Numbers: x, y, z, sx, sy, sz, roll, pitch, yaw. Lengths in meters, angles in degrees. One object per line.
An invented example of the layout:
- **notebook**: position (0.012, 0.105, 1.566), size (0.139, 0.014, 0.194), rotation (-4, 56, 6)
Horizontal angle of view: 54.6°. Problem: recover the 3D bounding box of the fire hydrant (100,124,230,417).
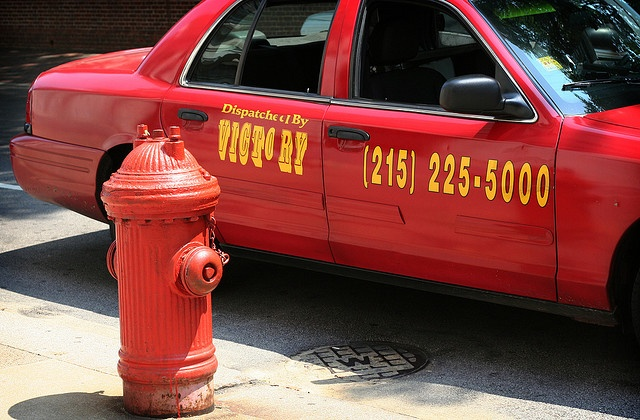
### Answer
- **fire hydrant**: position (-0.875, 0.334, 3.486), size (0.682, 1.571, 0.446), rotation (1, 12, -5)
